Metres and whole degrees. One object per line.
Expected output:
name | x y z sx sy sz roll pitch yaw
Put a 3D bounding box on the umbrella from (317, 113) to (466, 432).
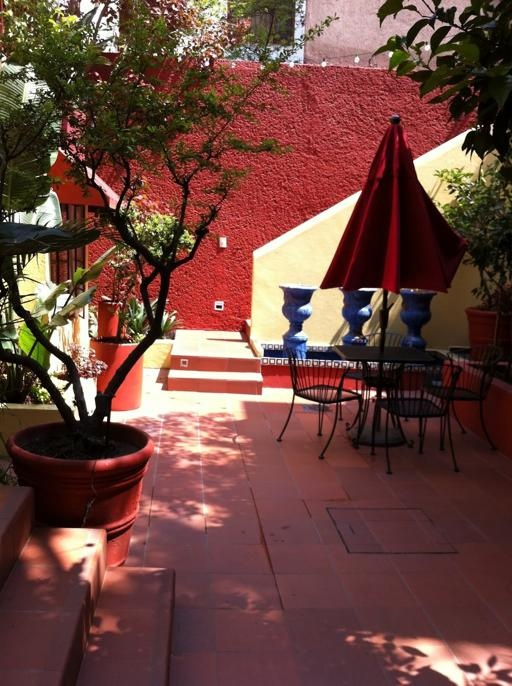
umbrella | 1.191 -0.624 4.650 1.113 2.265 0.978 -2 25 3
